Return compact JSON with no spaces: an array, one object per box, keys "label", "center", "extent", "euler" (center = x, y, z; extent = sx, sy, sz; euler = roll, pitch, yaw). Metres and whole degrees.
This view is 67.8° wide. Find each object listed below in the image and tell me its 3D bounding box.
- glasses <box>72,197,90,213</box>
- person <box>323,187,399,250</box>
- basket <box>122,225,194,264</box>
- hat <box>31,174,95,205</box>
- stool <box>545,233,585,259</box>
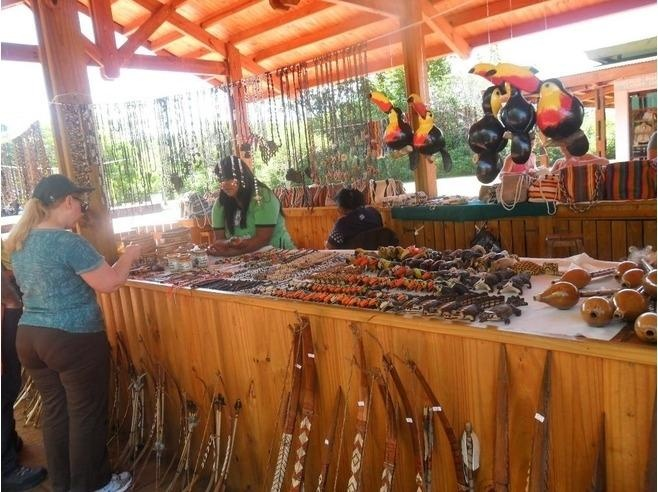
[{"label":"glasses","center":[-1.639,-0.274,3.216],"extent":[0.125,0.146,0.041],"euler":[4,19,28]},{"label":"person","center":[0.368,-0.297,5.047],"extent":[0.508,0.864,0.470],"euler":[-9,37,4]},{"label":"basket","center":[-1.522,-0.018,4.352],"extent":[0.413,0.228,0.548],"euler":[-3,2,-6]},{"label":"hat","center":[-1.574,-0.331,2.885],"extent":[0.253,0.141,0.164],"euler":[-26,25,-30]},{"label":"stool","center":[1.999,-0.003,4.156],"extent":[0.146,0.218,0.181],"euler":[-3,20,7]}]
